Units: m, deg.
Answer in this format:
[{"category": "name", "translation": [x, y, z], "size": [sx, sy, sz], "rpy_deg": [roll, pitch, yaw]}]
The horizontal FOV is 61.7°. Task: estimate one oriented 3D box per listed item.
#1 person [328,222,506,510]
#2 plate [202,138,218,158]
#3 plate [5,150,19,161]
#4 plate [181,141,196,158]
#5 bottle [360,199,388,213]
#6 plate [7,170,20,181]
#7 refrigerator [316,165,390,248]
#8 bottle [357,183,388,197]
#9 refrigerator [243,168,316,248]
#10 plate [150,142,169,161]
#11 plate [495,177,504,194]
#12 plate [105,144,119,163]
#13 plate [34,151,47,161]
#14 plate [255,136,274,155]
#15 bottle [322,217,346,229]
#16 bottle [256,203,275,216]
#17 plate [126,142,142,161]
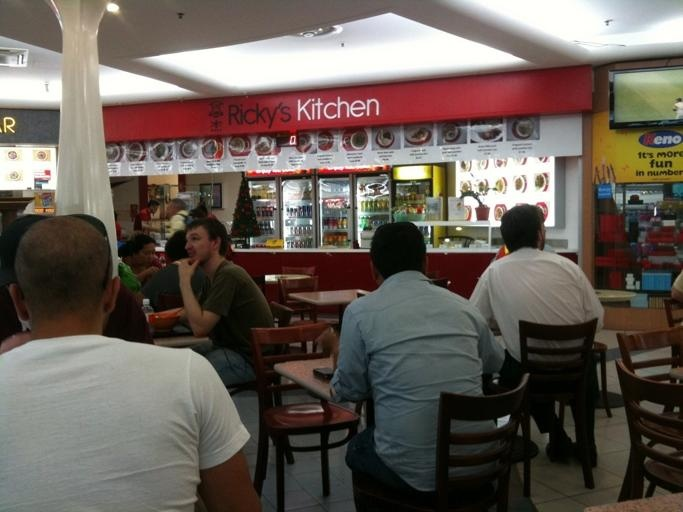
[{"category": "person", "translation": [0.336, 0.417, 2.612], "size": [0.626, 1.137, 0.579], "rpy_deg": [2, 6, 36]}, {"category": "plate", "translation": [-2.082, -1.688, 9.069], "size": [0.272, 0.303, 0.049], "rpy_deg": [1, 5, 25]}, {"category": "plate", "translation": [-5.630, -1.716, 9.796], "size": [0.150, 0.163, 0.052], "rpy_deg": [-4, 5, -19]}, {"category": "plate", "translation": [-2.465, -1.698, 9.194], "size": [0.244, 0.265, 0.060], "rpy_deg": [-18, -1, 28]}, {"category": "bottle", "translation": [0.623, -0.944, 10.794], "size": [0.570, 0.238, 0.050], "rpy_deg": [1, 5, 23]}, {"category": "plate", "translation": [-5.624, -1.369, 9.836], "size": [0.187, 0.159, 0.015], "rpy_deg": [-3, 5, -15]}, {"category": "refrigerator", "translation": [0.233, -0.930, 10.226], "size": [1.351, 1.422, 0.562], "rpy_deg": [0, -1, 21]}, {"category": "bottle", "translation": [0.597, -1.247, 10.817], "size": [0.590, 0.240, 0.052], "rpy_deg": [1, 5, 20]}, {"category": "refrigerator", "translation": [-1.145, -0.917, 11.109], "size": [1.353, 2.557, 0.813], "rpy_deg": [0, 2, 10]}, {"category": "plate", "translation": [-2.953, -1.698, 9.376], "size": [0.386, 0.283, 0.020], "rpy_deg": [1, 5, 22]}, {"category": "plate", "translation": [2.793, -1.233, 10.030], "size": [0.054, 0.227, 0.213], "rpy_deg": [3, 6, -29]}, {"category": "plate", "translation": [-3.845, -1.728, 9.678], "size": [0.219, 0.308, 0.229], "rpy_deg": [-3, 5, -25]}, {"category": "plate", "translation": [-5.238, -1.744, 9.937], "size": [0.144, 0.155, 0.043], "rpy_deg": [-9, 11, -22]}, {"category": "plate", "translation": [-1.174, -1.701, 8.851], "size": [0.327, 0.300, 0.056], "rpy_deg": [1, 5, 22]}, {"category": "bottle", "translation": [-0.162, -0.612, 10.891], "size": [0.565, 0.196, 0.209], "rpy_deg": [4, 4, 16]}, {"category": "bottle", "translation": [-1.536, -1.004, 11.580], "size": [0.188, 0.274, 0.389], "rpy_deg": [1, 1, 31]}, {"category": "plate", "translation": [-3.416, -1.726, 9.526], "size": [0.343, 0.288, 0.032], "rpy_deg": [1, 5, 20]}]
